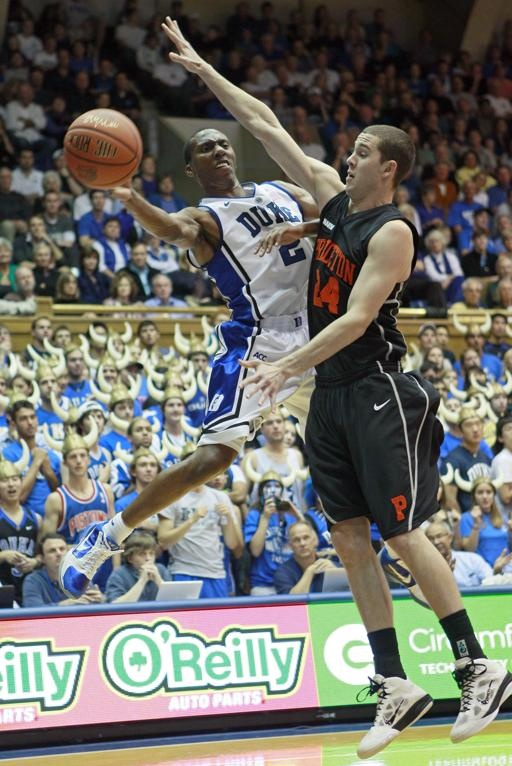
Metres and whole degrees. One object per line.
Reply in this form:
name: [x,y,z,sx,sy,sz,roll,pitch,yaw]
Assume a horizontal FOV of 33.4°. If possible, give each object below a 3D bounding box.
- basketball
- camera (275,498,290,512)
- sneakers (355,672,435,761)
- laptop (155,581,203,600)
basketball: [-0.564,-0.841,3.105,0.272,0.262,0.345,14,24,-5]
camera: [0.157,0.741,5.156,0.082,0.070,0.080,7,-12,-45]
sneakers: [0.393,1.026,2.657,0.206,0.246,0.165,-5,33,-39]
laptop: [-0.384,1.037,4.256,0.163,0.102,0.111,1,23,-22]
